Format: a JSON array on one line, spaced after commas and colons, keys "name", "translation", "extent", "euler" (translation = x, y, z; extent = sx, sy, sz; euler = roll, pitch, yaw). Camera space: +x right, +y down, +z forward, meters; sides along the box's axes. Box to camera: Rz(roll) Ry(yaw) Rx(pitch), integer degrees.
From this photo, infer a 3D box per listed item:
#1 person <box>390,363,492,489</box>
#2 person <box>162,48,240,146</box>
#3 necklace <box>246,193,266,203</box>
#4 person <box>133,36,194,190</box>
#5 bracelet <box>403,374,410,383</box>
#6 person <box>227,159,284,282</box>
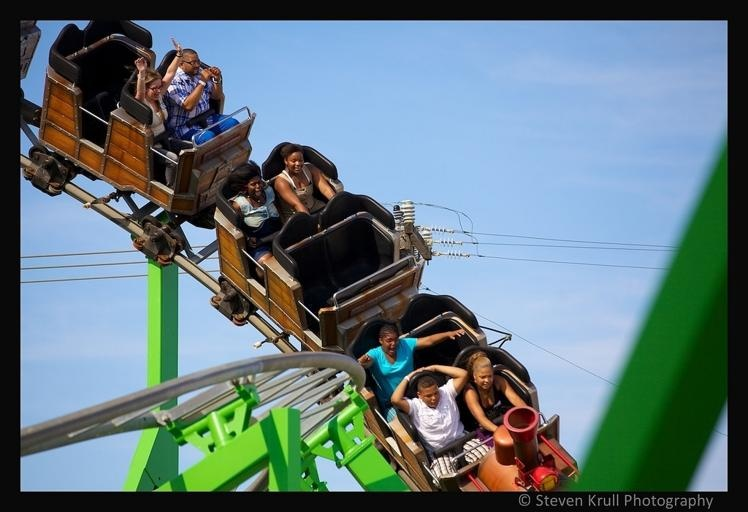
[{"name": "person", "translation": [0.533, 1.251, 7.618], "extent": [0.575, 0.869, 0.691], "euler": [-23, 32, -12]}, {"name": "person", "translation": [-1.712, -1.461, 10.571], "extent": [0.668, 1.090, 0.510], "euler": [18, 28, 36]}, {"name": "necklace", "translation": [-1.011, -0.495, 9.231], "extent": [0.096, 0.069, 0.123], "euler": [-1, 1, 4]}, {"name": "person", "translation": [-1.910, -1.258, 9.915], "extent": [0.661, 1.468, 0.556], "euler": [5, 26, 0]}, {"name": "bracelet", "translation": [0.238, 0.890, 7.857], "extent": [0.037, 0.038, 0.046], "euler": [3, 6, 21]}, {"name": "person", "translation": [-1.037, -0.311, 9.216], "extent": [0.501, 1.010, 0.421], "euler": [2, -13, -8]}]
